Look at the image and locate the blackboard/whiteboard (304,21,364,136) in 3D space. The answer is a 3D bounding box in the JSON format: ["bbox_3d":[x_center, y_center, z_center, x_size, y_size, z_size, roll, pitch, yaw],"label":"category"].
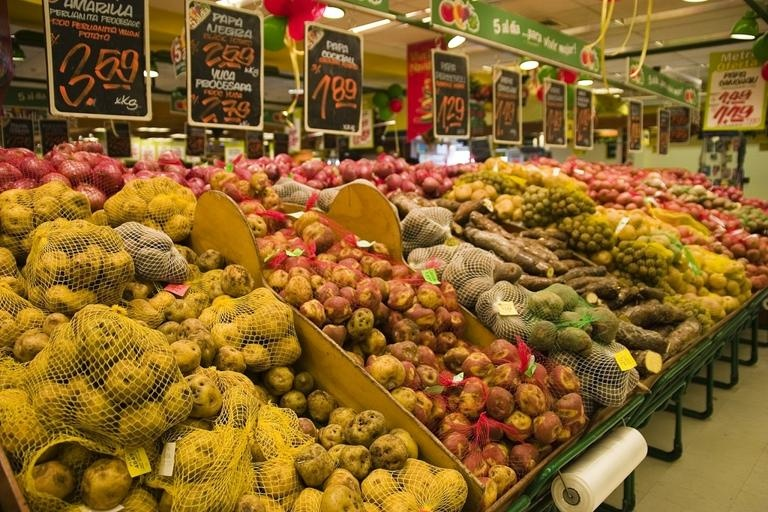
[{"bbox_3d":[-0.437,-1.549,4.725,0.621,0.924,0.136,-10,17,-36],"label":"blackboard/whiteboard"}]

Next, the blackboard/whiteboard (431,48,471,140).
[{"bbox_3d":[0.723,-1.745,5.785,0.586,0.896,0.146,-10,17,-36],"label":"blackboard/whiteboard"}]

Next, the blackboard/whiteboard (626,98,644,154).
[{"bbox_3d":[4.134,-2.161,8.844,0.132,1.402,1.062,1,6,34],"label":"blackboard/whiteboard"}]

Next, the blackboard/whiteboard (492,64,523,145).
[{"bbox_3d":[1.537,-1.841,6.624,0.258,0.931,0.608,10,17,34],"label":"blackboard/whiteboard"}]
